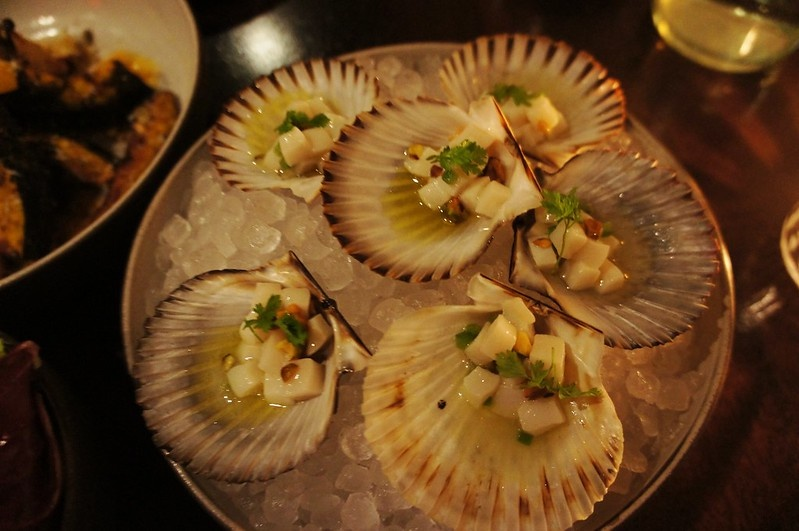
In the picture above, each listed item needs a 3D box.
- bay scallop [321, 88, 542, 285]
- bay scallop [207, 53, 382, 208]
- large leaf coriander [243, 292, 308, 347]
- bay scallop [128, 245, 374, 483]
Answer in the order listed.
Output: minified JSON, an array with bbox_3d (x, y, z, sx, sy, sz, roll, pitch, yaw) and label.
[{"bbox_3d":[0.060,-0.336,2.782,0.733,0.264,0.663,-25,89,-22],"label":"bay scallop"},{"bbox_3d":[-0.440,-0.549,2.811,0.594,0.229,0.602,8,68,10],"label":"bay scallop"},{"bbox_3d":[-0.418,0.196,2.502,0.182,0.058,0.193,-31,89,-9],"label":"large leaf coriander"},{"bbox_3d":[-0.488,0.387,2.552,0.833,0.224,0.688,-27,80,-5],"label":"bay scallop"}]
